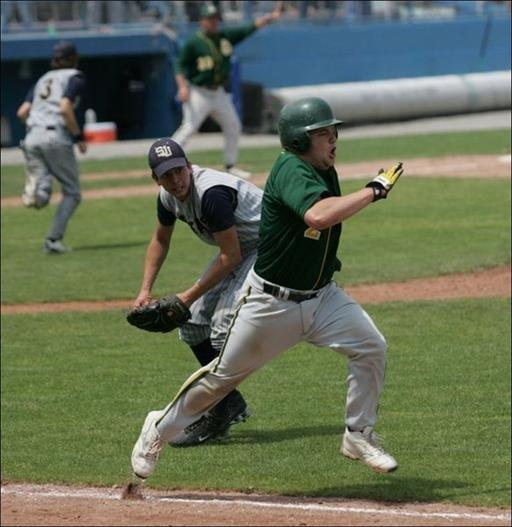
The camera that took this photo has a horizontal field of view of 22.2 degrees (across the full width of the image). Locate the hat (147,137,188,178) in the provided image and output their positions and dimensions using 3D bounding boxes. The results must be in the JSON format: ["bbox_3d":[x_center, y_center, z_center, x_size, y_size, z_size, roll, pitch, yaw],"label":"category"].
[{"bbox_3d":[-0.492,-0.577,7.132,0.162,0.131,0.243,-21,23,2],"label":"hat"}]

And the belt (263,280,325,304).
[{"bbox_3d":[0.182,0.153,6.918,0.301,0.115,0.060,-2,17,-6],"label":"belt"}]

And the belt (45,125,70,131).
[{"bbox_3d":[-1.244,-0.842,8.077,0.127,0.027,0.014,-4,18,-14],"label":"belt"}]

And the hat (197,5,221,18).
[{"bbox_3d":[-0.454,-2.455,12.667,0.169,0.145,0.278,-1,17,-1],"label":"hat"}]

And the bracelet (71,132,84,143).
[{"bbox_3d":[-1.139,-0.798,8.220,0.069,0.069,0.035,-9,57,-16],"label":"bracelet"}]

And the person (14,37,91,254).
[{"bbox_3d":[-1.278,-0.730,8.225,0.445,1.296,0.342,-7,18,-20],"label":"person"}]

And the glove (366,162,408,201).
[{"bbox_3d":[0.680,-0.429,6.862,0.156,0.108,0.254,22,63,36],"label":"glove"}]

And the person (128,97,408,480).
[{"bbox_3d":[0.130,0.137,7.015,1.289,1.994,0.530,1,17,4],"label":"person"}]

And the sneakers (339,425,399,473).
[{"bbox_3d":[0.602,0.992,7.153,0.405,0.198,0.146,18,17,27],"label":"sneakers"}]

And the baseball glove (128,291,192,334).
[{"bbox_3d":[-0.532,0.298,7.211,0.289,0.214,0.130,-10,48,9],"label":"baseball glove"}]

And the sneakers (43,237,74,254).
[{"bbox_3d":[-1.265,-0.118,8.290,0.185,0.083,0.061,8,21,-12],"label":"sneakers"}]

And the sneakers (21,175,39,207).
[{"bbox_3d":[-1.431,-0.456,8.200,0.075,0.183,0.110,12,-12,-43],"label":"sneakers"}]

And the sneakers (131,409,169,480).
[{"bbox_3d":[-0.624,1.002,7.083,0.176,0.413,0.142,2,-12,40],"label":"sneakers"}]

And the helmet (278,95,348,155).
[{"bbox_3d":[0.297,-0.753,6.942,0.316,0.248,0.269,0,5,22],"label":"helmet"}]
